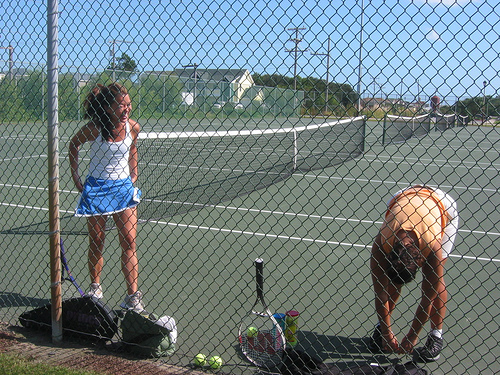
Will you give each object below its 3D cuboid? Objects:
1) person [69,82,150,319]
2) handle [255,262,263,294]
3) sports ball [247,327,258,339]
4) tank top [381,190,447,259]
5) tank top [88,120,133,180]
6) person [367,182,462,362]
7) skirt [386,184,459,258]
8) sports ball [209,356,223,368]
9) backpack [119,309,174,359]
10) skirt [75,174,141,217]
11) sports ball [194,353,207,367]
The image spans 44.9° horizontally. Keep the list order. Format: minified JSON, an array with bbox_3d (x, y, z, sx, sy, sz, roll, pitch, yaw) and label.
[{"bbox_3d":[-1.384,0.081,5.950,0.816,2.223,0.670,2,4,-1],"label":"person"},{"bbox_3d":[0.079,0.772,5.216,0.056,0.277,0.135,2,4,3],"label":"handle"},{"bbox_3d":[0.025,1.270,5.322,0.075,0.114,0.085,1,2,4],"label":"sports ball"},{"bbox_3d":[1.603,0.239,5.647,0.540,0.510,0.915,7,32,30],"label":"tank top"},{"bbox_3d":[-1.381,-0.374,6.006,0.423,0.600,0.275,2,4,-15],"label":"tank top"},{"bbox_3d":[1.544,0.751,5.703,0.726,1.592,1.282,4,5,20],"label":"person"},{"bbox_3d":[1.673,0.393,5.694,0.450,0.719,0.637,2,-29,13],"label":"skirt"},{"bbox_3d":[-0.299,1.543,5.367,0.093,0.098,0.091,26,22,-11],"label":"sports ball"},{"bbox_3d":[-0.910,1.322,5.385,0.437,0.383,0.170,30,19,5],"label":"backpack"},{"bbox_3d":[-1.406,0.033,6.117,0.606,0.183,0.785,-13,35,-28],"label":"skirt"},{"bbox_3d":[-0.439,1.530,5.391,0.100,0.127,0.113,3,4,8],"label":"sports ball"}]
